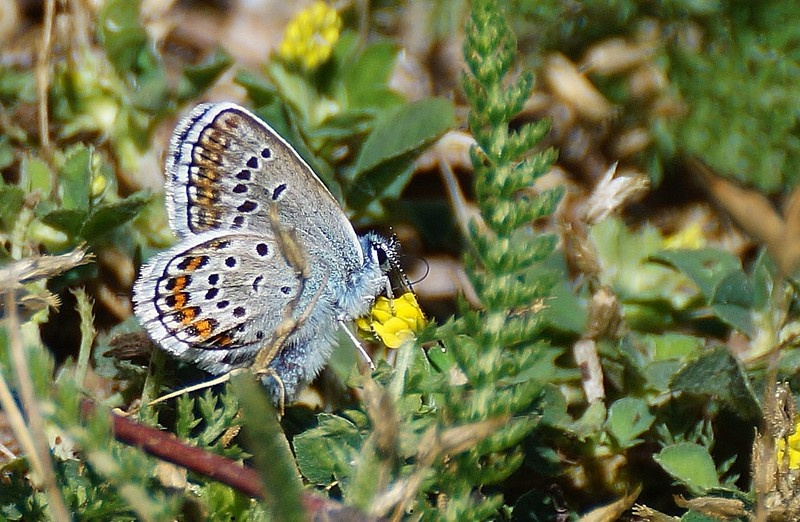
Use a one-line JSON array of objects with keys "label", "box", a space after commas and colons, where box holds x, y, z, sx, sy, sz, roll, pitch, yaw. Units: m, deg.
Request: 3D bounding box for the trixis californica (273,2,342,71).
[{"label": "trixis californica", "box": [-0.304, -0.773, 3.891, 0.198, 0.199, 0.184, 20, 43, 2]}]

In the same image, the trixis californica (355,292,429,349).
[{"label": "trixis californica", "box": [-0.016, 0.204, 3.845, 0.125, 0.202, 0.200, 42, -1, -34]}]
